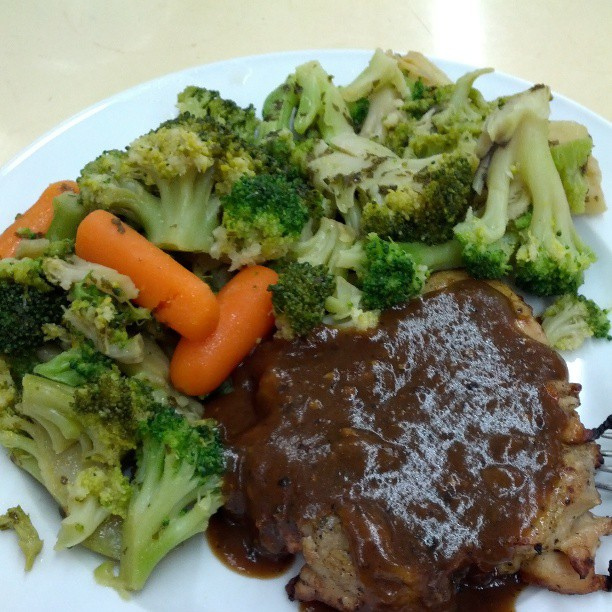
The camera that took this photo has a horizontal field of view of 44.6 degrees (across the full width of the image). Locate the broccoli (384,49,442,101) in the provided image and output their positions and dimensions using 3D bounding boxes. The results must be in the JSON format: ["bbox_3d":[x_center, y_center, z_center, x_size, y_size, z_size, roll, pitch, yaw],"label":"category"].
[{"bbox_3d":[0.764,-1.631,5.136,0.321,0.176,0.093,22,89,2],"label":"broccoli"}]

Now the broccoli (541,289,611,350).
[{"bbox_3d":[1.710,0.079,4.788,0.432,0.189,0.350,-13,61,2],"label":"broccoli"}]

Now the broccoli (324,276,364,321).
[{"bbox_3d":[0.234,-0.054,4.544,0.250,0.074,0.218,11,65,9],"label":"broccoli"}]

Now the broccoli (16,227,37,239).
[{"bbox_3d":[-1.682,-0.447,4.492,0.128,0.085,0.032,31,111,45],"label":"broccoli"}]

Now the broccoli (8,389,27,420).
[{"bbox_3d":[-1.644,0.549,4.214,0.132,0.051,0.139,5,74,32],"label":"broccoli"}]

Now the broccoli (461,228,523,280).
[{"bbox_3d":[1.066,-0.372,4.505,0.346,0.308,0.151,-15,57,4],"label":"broccoli"}]

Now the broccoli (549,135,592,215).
[{"bbox_3d":[1.655,-0.815,4.699,0.115,0.425,0.382,-4,99,40],"label":"broccoli"}]
